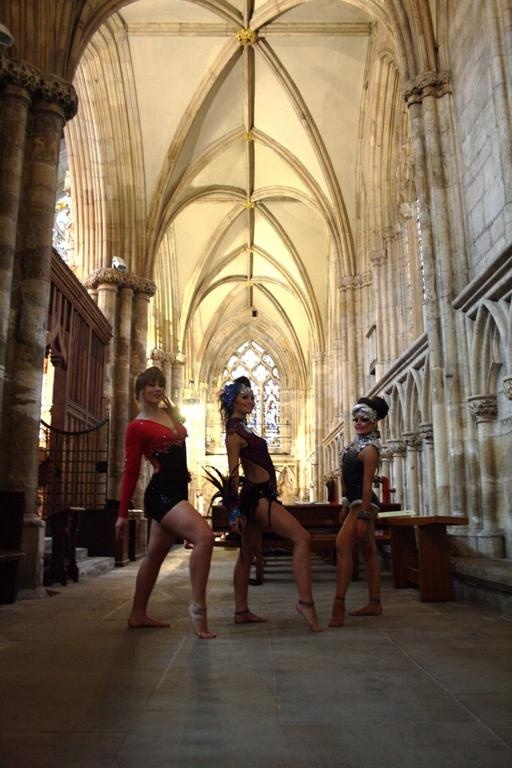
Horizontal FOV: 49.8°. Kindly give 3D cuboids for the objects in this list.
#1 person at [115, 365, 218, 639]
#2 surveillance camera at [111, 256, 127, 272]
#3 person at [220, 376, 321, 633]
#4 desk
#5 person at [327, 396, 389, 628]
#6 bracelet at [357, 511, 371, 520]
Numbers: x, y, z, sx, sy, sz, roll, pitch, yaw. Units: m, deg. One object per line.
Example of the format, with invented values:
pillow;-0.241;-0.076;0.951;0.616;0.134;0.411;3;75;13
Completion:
person;-0.501;0.624;3.064;0.562;1.482;0.562;-1;-10;0
surveillance camera;-3.272;-2.819;13.044;0.349;0.349;0.456;7;29;-25
person;0.058;0.693;3.319;0.547;1.503;0.423;0;-10;-5
desk;1.373;1.424;4.859;0.379;0.701;1.181;3;-3;-9
person;0.685;0.802;3.606;0.396;1.449;0.741;-3;-10;13
bracelet;0.673;0.826;3.461;0.054;0.040;0.055;-6;-25;25
